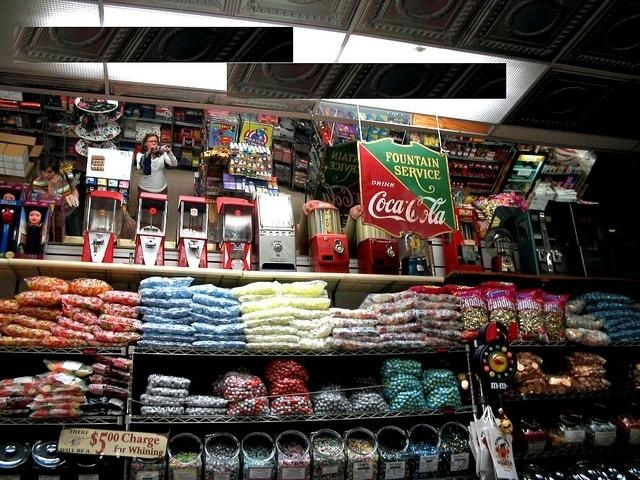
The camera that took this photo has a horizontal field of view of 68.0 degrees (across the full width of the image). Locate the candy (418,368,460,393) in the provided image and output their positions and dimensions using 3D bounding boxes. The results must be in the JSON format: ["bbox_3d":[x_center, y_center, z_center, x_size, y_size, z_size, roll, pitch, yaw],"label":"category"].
[{"bbox_3d":[0.926,1.103,3.737,0.223,0.100,0.161,3,-5,-21],"label":"candy"}]

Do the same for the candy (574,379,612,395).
[{"bbox_3d":[2.248,1.195,3.948,0.224,0.070,0.170,2,-5,-15],"label":"candy"}]

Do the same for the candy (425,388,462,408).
[{"bbox_3d":[0.952,1.211,3.663,0.197,0.095,0.149,9,-13,-38],"label":"candy"}]

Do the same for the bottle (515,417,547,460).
[{"bbox_3d":[1.700,1.586,3.750,0.245,0.218,0.226,4,-14,-11],"label":"bottle"}]

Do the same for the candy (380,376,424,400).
[{"bbox_3d":[0.607,1.113,3.640,0.241,0.106,0.171,0,-6,-22],"label":"candy"}]

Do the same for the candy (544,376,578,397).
[{"bbox_3d":[1.954,1.196,3.888,0.282,0.151,0.094,4,-12,-19],"label":"candy"}]

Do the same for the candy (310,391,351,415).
[{"bbox_3d":[0.070,1.194,3.457,0.197,0.089,0.183,0,-10,8],"label":"candy"}]

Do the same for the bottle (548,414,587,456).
[{"bbox_3d":[1.985,1.570,3.821,0.260,0.334,0.247,2,-12,0],"label":"bottle"}]

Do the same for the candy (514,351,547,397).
[{"bbox_3d":[1.703,1.096,3.867,0.306,0.338,0.111,4,-12,-16],"label":"candy"}]

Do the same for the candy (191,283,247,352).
[{"bbox_3d":[-0.761,0.563,3.480,0.394,0.453,0.141,0,-40,-21],"label":"candy"}]

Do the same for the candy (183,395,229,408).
[{"bbox_3d":[-0.793,1.135,3.324,0.274,0.074,0.147,-2,-10,16],"label":"candy"}]

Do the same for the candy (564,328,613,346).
[{"bbox_3d":[2.291,0.829,4.038,0.334,0.098,0.168,6,5,-16],"label":"candy"}]

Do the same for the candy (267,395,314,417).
[{"bbox_3d":[-0.206,1.162,3.364,0.236,0.080,0.156,2,-5,-6],"label":"candy"}]

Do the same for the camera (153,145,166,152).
[{"bbox_3d":[-2.533,-1.425,7.469,0.188,0.076,0.225,-3,-6,-15],"label":"camera"}]

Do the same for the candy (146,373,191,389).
[{"bbox_3d":[-1.066,0.993,3.318,0.275,0.101,0.076,1,-11,-6],"label":"candy"}]

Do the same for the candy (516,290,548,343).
[{"bbox_3d":[1.790,0.653,4.091,0.345,0.358,0.121,2,-25,-2],"label":"candy"}]

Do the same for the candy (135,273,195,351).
[{"bbox_3d":[-1.116,0.511,3.440,0.431,0.481,0.156,-1,-42,-15],"label":"candy"}]

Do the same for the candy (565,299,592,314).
[{"bbox_3d":[2.277,0.596,4.228,0.156,0.080,0.141,-12,-2,8],"label":"candy"}]

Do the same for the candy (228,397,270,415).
[{"bbox_3d":[-0.498,1.158,3.291,0.166,0.061,0.163,5,-7,-38],"label":"candy"}]

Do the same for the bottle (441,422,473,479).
[{"bbox_3d":[1.017,1.594,3.549,0.240,0.373,0.411,2,-6,-1],"label":"bottle"}]

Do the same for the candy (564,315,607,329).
[{"bbox_3d":[2.303,0.718,4.113,0.277,0.082,0.141,6,13,-5],"label":"candy"}]

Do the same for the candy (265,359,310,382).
[{"bbox_3d":[-0.260,0.972,3.560,0.173,0.090,0.225,7,-8,-14],"label":"candy"}]

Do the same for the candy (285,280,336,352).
[{"bbox_3d":[-0.092,0.579,3.649,0.376,0.474,0.142,-2,-30,-15],"label":"candy"}]
